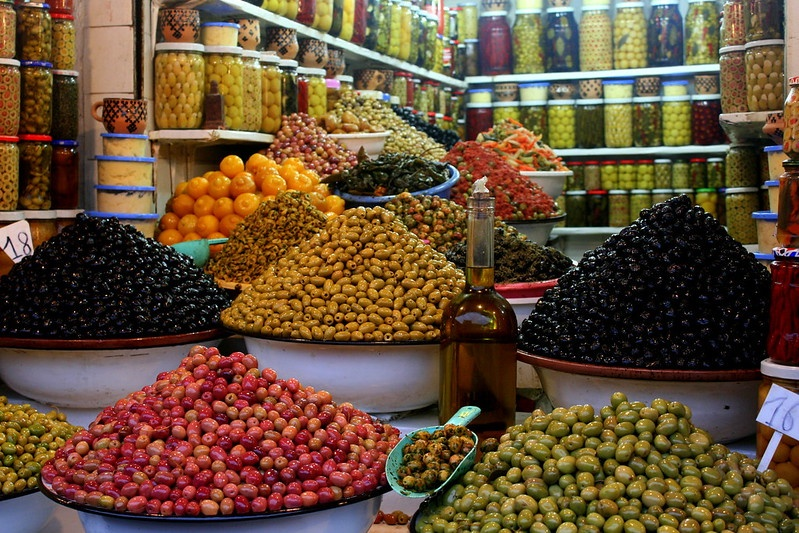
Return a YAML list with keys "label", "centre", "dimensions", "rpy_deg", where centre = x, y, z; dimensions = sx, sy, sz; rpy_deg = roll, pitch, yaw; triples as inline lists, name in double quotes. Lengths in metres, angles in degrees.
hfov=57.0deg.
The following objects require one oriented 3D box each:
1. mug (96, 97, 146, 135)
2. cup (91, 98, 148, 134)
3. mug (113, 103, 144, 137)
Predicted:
- label: "mug"
  centre: [-1.459, -0.775, 3.821]
  dimensions: [0.257, 0.174, 0.197]
  rpy_deg: [2, 8, 2]
- label: "cup"
  centre: [-1.462, -0.764, 3.827]
  dimensions: [0.273, 0.185, 0.209]
  rpy_deg: [2, 9, 2]
- label: "mug"
  centre: [-1.363, -0.740, 3.754]
  dimensions: [0.160, 0.136, 0.157]
  rpy_deg: [0, 2, -41]
